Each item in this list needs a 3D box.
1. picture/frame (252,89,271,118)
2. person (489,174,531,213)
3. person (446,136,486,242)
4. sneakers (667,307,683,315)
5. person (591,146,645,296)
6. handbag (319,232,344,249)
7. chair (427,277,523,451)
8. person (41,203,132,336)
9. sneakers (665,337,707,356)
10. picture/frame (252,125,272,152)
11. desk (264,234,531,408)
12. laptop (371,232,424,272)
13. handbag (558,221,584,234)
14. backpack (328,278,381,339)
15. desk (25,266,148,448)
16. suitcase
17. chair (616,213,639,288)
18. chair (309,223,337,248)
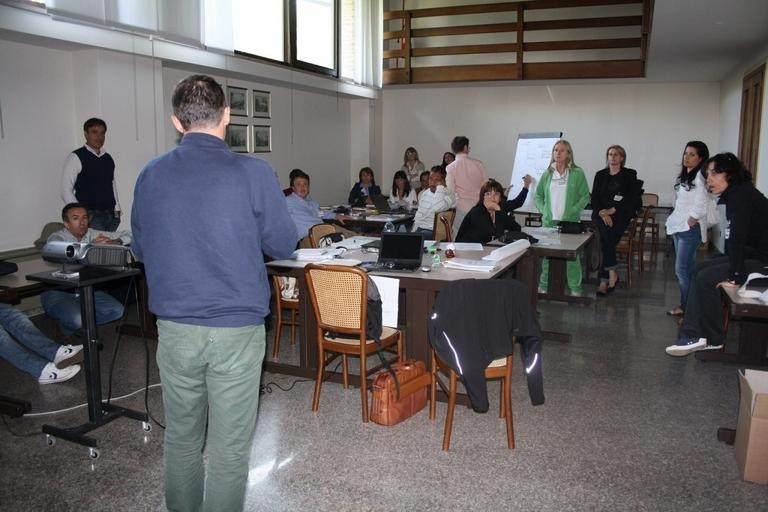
[{"bbox_3d":[-2.024,-2.444,8.867,0.036,0.514,0.499,2,5,25],"label":"picture/frame"},{"bbox_3d":[1.709,-0.829,7.254,0.376,0.270,0.713,-5,-3,-23],"label":"person"},{"bbox_3d":[1.141,-0.797,7.848,0.645,1.822,0.510,-13,29,-13],"label":"person"},{"bbox_3d":[3.313,0.625,6.267,0.079,0.060,0.159,-6,12,-30],"label":"sneakers"},{"bbox_3d":[2.920,-0.479,7.158,0.729,1.848,0.456,-7,12,-29],"label":"person"},{"bbox_3d":[-0.541,-0.165,5.401,0.137,0.066,0.181,5,13,29],"label":"handbag"},{"bbox_3d":[0.635,0.956,4.010,0.627,0.650,0.623,0,10,4],"label":"chair"},{"bbox_3d":[-2.794,0.119,5.094,0.932,1.168,0.699,-3,18,-40],"label":"person"},{"bbox_3d":[2.786,0.825,5.092,0.374,0.169,0.141,-7,-6,16],"label":"sneakers"},{"bbox_3d":[-2.027,-1.894,8.884,0.034,0.479,0.465,2,6,27],"label":"picture/frame"},{"bbox_3d":[0.156,0.331,4.616,1.462,0.750,1.449,2,8,27],"label":"desk"},{"bbox_3d":[0.092,-0.045,4.464,0.406,0.284,0.369,5,10,27],"label":"laptop"},{"bbox_3d":[2.048,-0.310,6.001,0.192,0.085,0.214,0,7,2],"label":"handbag"},{"bbox_3d":[-0.228,0.370,4.045,0.326,0.582,0.348,6,13,31],"label":"backpack"},{"bbox_3d":[-2.099,0.677,3.917,0.698,1.238,0.616,-9,13,-38],"label":"desk"},{"bbox_3d":[0.111,1.014,4.198,0.283,0.409,0.559,5,10,42],"label":"suitcase"},{"bbox_3d":[3.593,-0.151,8.378,0.535,0.905,0.508,-1,1,19],"label":"chair"},{"bbox_3d":[-0.609,-0.215,5.386,0.227,0.361,0.203,9,13,41],"label":"chair"}]
